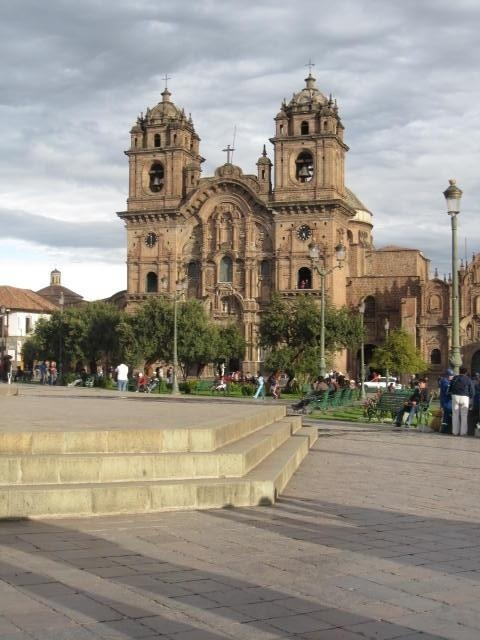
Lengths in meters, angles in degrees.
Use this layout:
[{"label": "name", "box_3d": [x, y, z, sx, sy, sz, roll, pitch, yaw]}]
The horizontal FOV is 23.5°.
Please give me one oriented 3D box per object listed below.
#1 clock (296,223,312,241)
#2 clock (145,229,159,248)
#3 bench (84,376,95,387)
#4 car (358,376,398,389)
[{"label": "clock", "box_3d": [3.809, -5.237, 69.382, 1.012, 1.002, 0.219, -3, -4, 33]}, {"label": "clock", "box_3d": [-5.754, -5.160, 74.659, 1.048, 1.012, 0.200, -3, -4, 38]}, {"label": "bench", "box_3d": [-6.773, 2.746, 51.805, 0.395, 0.186, 0.538, -1, 16, 6]}, {"label": "car", "box_3d": [6.971, 3.231, 58.859, 1.987, 0.999, 1.172, 5, -1, 13]}]
